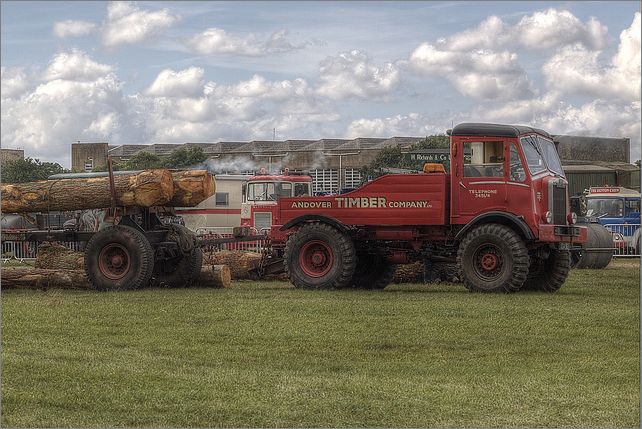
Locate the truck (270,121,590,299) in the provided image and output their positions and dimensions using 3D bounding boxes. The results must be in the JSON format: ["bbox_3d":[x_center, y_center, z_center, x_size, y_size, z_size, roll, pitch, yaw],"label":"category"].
[{"bbox_3d":[2.840,-0.066,22.671,7.091,3.899,3.686,-2,-2,19],"label":"truck"}]

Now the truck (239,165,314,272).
[{"bbox_3d":[-2.545,0.171,36.239,2.850,3.774,4.651,2,-1,-13],"label":"truck"}]
